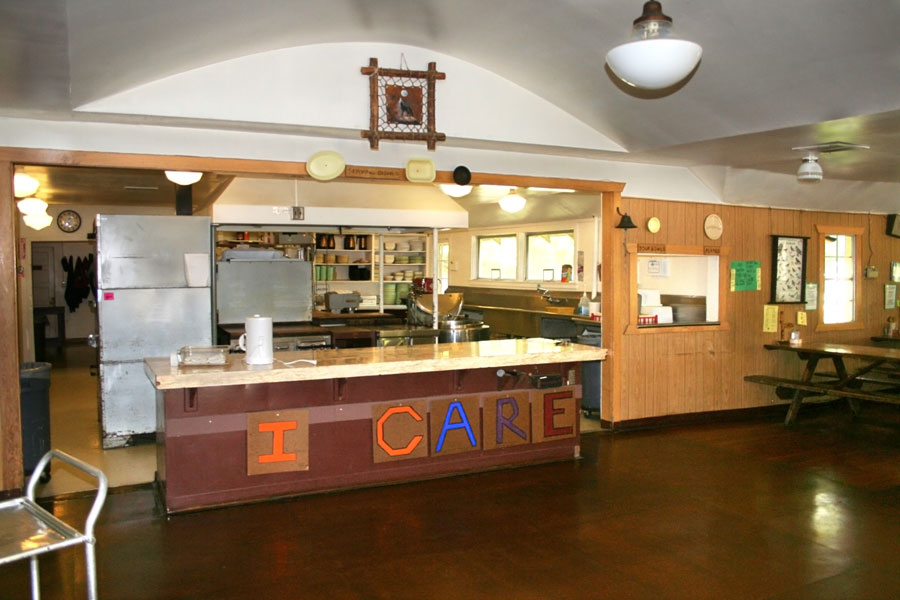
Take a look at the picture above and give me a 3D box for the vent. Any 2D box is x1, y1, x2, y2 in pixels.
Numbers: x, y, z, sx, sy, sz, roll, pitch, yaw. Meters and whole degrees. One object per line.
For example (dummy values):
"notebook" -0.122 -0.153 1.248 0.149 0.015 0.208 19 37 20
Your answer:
"vent" -1.520 -1.328 9.312 3.346 0.697 0.624 -3 11 -17

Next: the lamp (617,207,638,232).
"lamp" 2.229 -0.999 8.478 0.352 0.308 0.275 -2 1 -17

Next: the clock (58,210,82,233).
"clock" -7.460 -1.538 13.204 0.434 0.439 0.165 -6 13 -29

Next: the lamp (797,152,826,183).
"lamp" 4.301 -1.588 8.034 0.220 0.336 0.725 6 12 26

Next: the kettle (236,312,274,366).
"kettle" -1.770 0.383 6.244 0.472 0.544 0.415 1 0 -6

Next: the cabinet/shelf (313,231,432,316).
"cabinet/shelf" -1.485 -0.467 12.677 2.071 1.689 0.585 0 -7 -9
